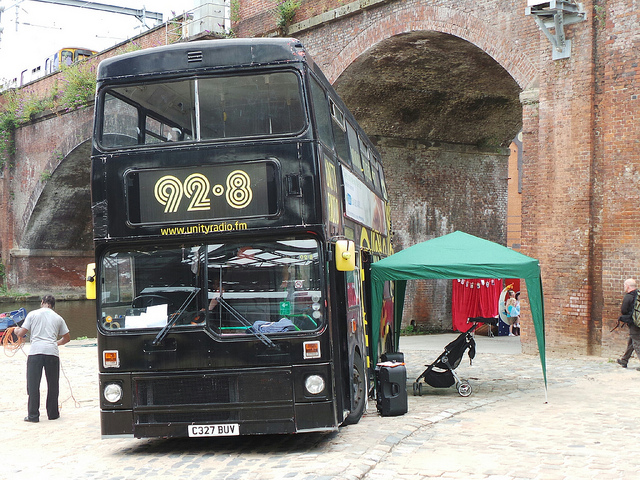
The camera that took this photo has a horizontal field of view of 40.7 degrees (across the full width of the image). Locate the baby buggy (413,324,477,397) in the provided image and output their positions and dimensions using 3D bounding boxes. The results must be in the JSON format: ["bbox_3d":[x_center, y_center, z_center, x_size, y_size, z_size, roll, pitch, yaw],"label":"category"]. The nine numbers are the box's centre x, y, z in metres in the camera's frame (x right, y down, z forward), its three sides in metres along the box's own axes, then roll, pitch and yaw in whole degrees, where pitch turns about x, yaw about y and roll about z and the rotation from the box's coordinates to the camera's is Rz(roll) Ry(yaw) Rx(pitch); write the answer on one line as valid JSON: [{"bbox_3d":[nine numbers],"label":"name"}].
[{"bbox_3d":[2.408,2.331,16.421,1.032,1.421,0.949,-4,2,-32],"label":"baby buggy"}]

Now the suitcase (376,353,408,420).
[{"bbox_3d":[1.241,2.544,14.891,0.449,0.893,0.518,0,1,-4],"label":"suitcase"}]

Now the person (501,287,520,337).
[{"bbox_3d":[6.398,2.440,28.705,0.534,1.392,0.992,-2,2,11],"label":"person"}]
